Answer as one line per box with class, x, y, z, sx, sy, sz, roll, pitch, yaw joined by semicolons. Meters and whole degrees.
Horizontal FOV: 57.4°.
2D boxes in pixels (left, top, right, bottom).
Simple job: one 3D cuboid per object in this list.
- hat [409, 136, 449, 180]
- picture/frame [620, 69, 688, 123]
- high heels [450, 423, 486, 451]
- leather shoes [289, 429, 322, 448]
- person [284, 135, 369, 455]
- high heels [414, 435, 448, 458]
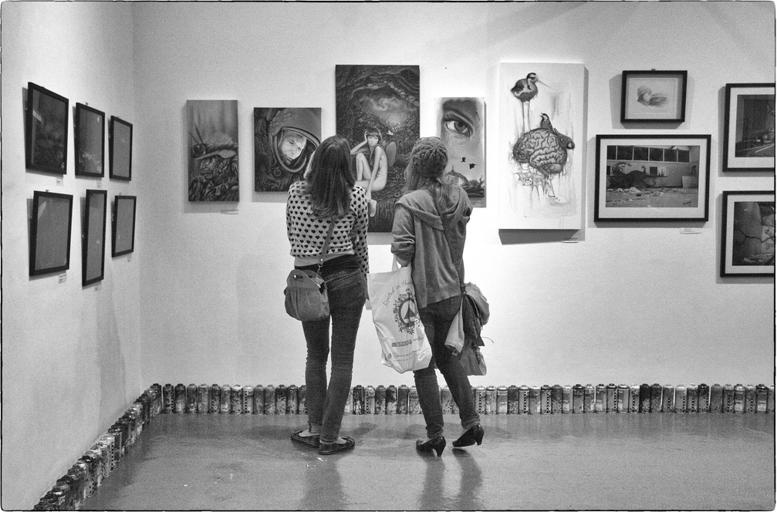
hat;0.303;-0.811;5.740;0.274;0.352;0.349;1;26;2
picture/frame;2.490;-1.533;6.724;0.482;0.411;0.054;0;1;-2
high heels;0.658;1.475;5.803;0.136;0.203;0.410;-4;-13;-21
leather shoes;-0.714;1.547;6.069;0.277;0.113;0.109;12;5;38
person;-0.510;0.330;5.834;0.678;2.596;0.384;0;4;-4
high heels;0.342;1.565;5.920;0.113;0.155;0.308;-2;2;-29
